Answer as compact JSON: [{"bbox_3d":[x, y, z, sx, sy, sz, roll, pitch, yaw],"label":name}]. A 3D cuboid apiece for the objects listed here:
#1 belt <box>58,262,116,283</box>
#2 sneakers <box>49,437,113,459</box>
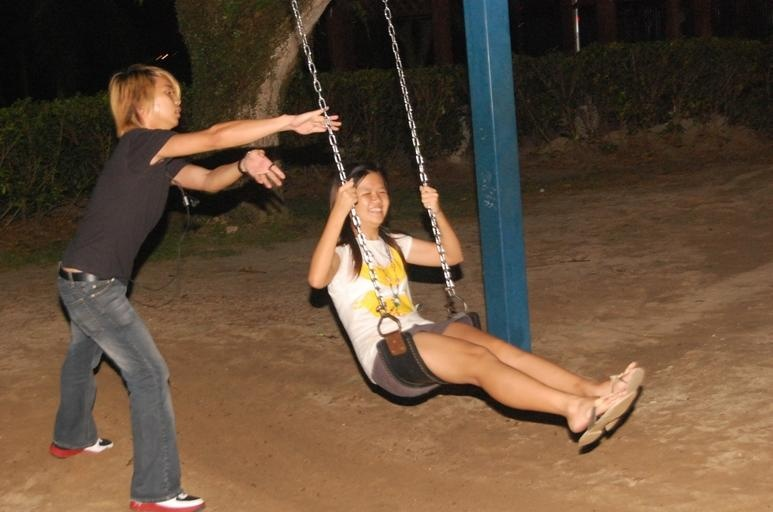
[{"bbox_3d":[-1.988,0.130,4.596,0.190,0.050,0.188,14,5,38],"label":"belt"},{"bbox_3d":[-2.278,1.383,5.344,0.461,0.157,0.156,-4,8,-24],"label":"sneakers"}]
